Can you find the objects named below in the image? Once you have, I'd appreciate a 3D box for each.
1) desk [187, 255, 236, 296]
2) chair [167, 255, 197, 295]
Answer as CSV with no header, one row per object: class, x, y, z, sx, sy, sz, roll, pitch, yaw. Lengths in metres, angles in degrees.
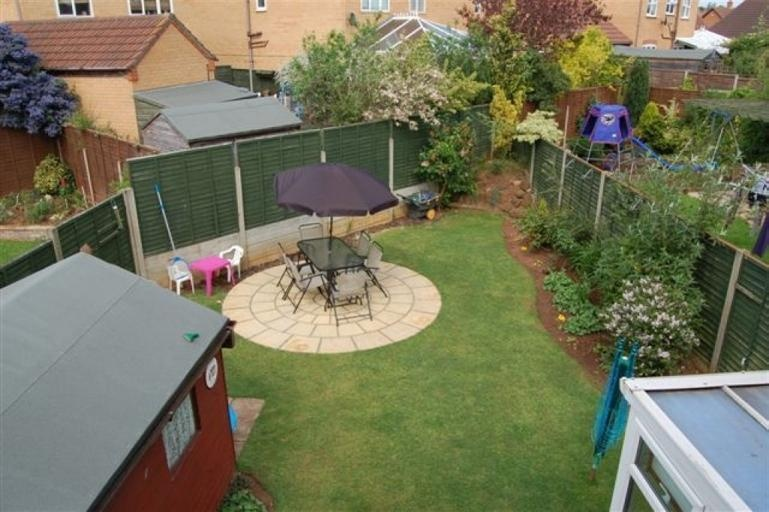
desk,-4.505,0.486,13.842,0.972,0.756,0.993,28,40,27
chair,-5.135,0.529,13.380,0.598,0.878,0.829,-11,27,-22
